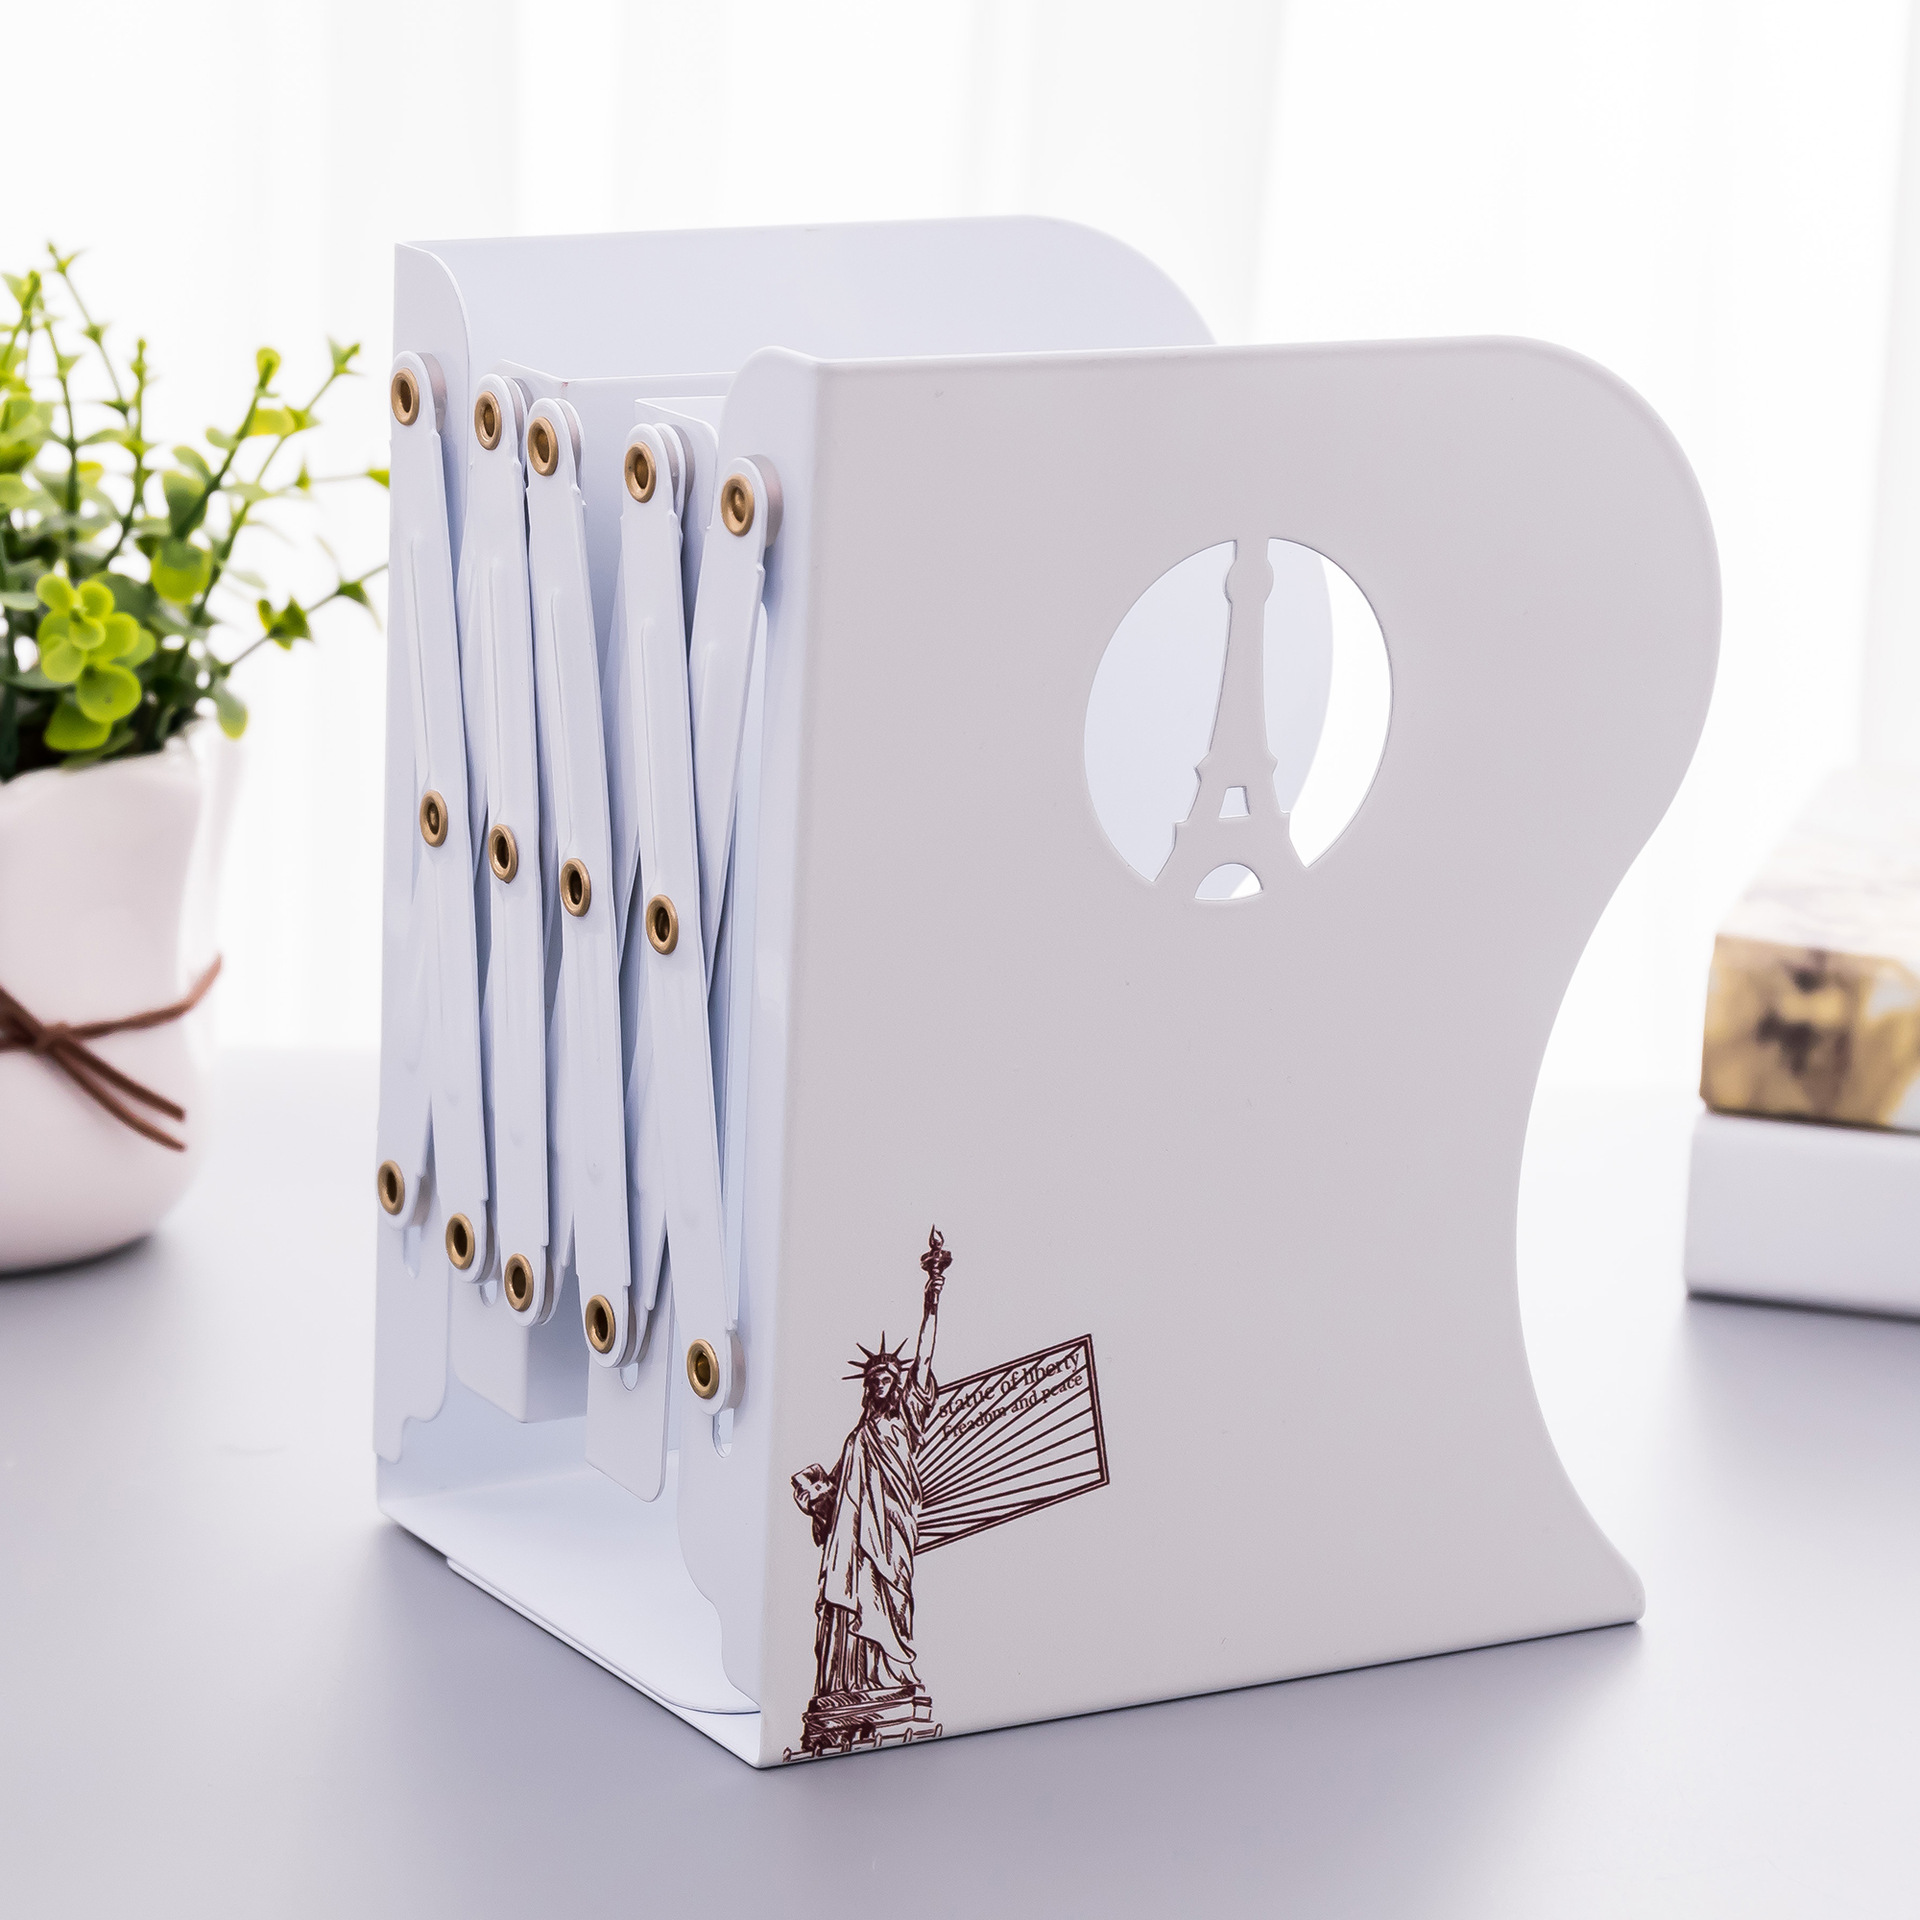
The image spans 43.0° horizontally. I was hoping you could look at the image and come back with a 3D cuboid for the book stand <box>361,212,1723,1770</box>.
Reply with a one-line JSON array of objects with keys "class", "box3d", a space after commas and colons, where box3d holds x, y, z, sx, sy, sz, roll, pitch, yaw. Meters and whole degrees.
[{"class": "book stand", "box3d": [-0.035, -0.006, 0.588, 0.157, 0.297, 0.186, 10, 12, 35]}]
